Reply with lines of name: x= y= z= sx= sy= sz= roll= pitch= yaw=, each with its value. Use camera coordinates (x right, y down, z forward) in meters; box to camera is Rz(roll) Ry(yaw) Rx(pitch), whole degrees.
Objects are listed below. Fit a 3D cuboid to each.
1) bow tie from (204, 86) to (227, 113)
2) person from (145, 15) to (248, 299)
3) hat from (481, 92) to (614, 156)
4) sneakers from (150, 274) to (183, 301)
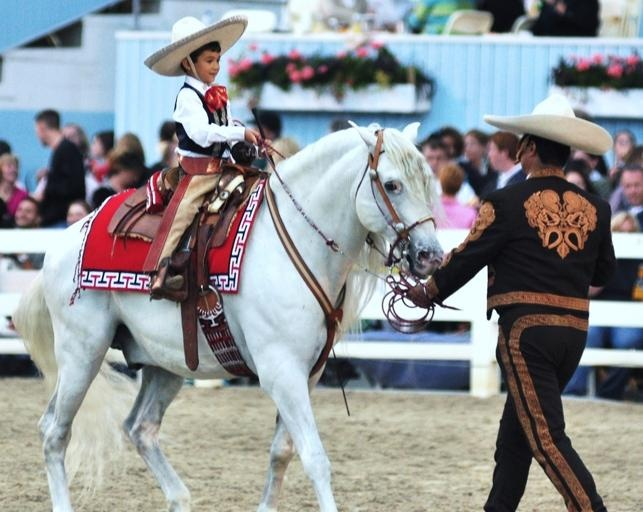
bow tie: x=-0.829 y=-1.267 z=14.271 sx=0.065 sy=0.202 sz=0.194 roll=-4 pitch=12 yaw=28
person: x=-0.907 y=-0.816 z=14.413 sx=0.926 sy=2.369 sz=0.922 roll=3 pitch=4 yaw=12
hat: x=1.789 y=-1.021 z=13.983 sx=0.622 sy=0.244 sz=0.590 roll=5 pitch=-17 yaw=45
sneakers: x=-1.200 y=0.252 z=14.061 sx=0.267 sy=0.201 sz=0.088 roll=-1 pitch=8 yaw=-5
